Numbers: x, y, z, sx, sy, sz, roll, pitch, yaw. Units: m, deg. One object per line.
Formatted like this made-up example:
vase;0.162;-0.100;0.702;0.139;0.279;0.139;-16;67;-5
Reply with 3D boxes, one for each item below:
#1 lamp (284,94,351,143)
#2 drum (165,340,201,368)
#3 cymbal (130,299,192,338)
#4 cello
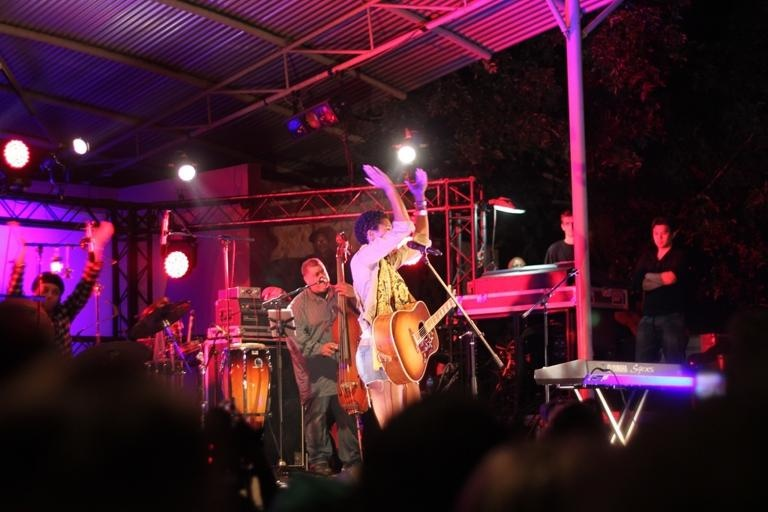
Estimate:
lamp;-0.942;-2.118;11.330;1.349;0.510;0.411;-17;20;30
drum;-2.636;1.329;9.835;0.427;0.279;0.382;-9;-18;40
cymbal;-2.819;0.758;9.276;0.597;0.158;0.603;-36;-8;-13
cello;-0.344;0.630;7.132;0.393;1.689;0.397;2;3;-11
